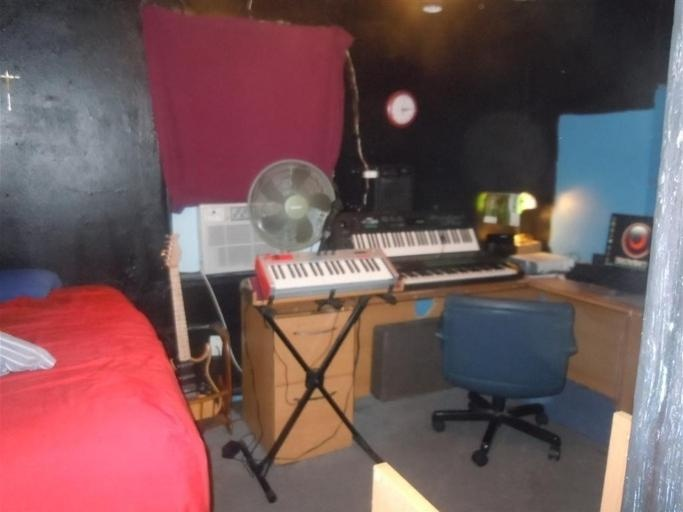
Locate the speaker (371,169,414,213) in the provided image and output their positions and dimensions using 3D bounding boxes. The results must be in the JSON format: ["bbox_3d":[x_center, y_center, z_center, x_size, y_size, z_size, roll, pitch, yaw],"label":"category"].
[{"bbox_3d":[0.391,-0.576,4.376,0.309,0.455,0.263,-2,48,4],"label":"speaker"}]

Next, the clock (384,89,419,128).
[{"bbox_3d":[0.450,-1.105,4.273,0.288,0.260,0.057,-11,14,-36],"label":"clock"}]

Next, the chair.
[{"bbox_3d":[1.051,0.688,3.692,0.842,1.106,0.911,13,17,41],"label":"chair"}]

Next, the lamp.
[{"bbox_3d":[1.324,-0.271,4.698,0.357,0.495,0.477,-8,12,-28],"label":"lamp"}]

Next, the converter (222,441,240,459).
[{"bbox_3d":[-0.674,1.178,3.505,0.099,0.055,0.081,6,20,17],"label":"converter"}]
